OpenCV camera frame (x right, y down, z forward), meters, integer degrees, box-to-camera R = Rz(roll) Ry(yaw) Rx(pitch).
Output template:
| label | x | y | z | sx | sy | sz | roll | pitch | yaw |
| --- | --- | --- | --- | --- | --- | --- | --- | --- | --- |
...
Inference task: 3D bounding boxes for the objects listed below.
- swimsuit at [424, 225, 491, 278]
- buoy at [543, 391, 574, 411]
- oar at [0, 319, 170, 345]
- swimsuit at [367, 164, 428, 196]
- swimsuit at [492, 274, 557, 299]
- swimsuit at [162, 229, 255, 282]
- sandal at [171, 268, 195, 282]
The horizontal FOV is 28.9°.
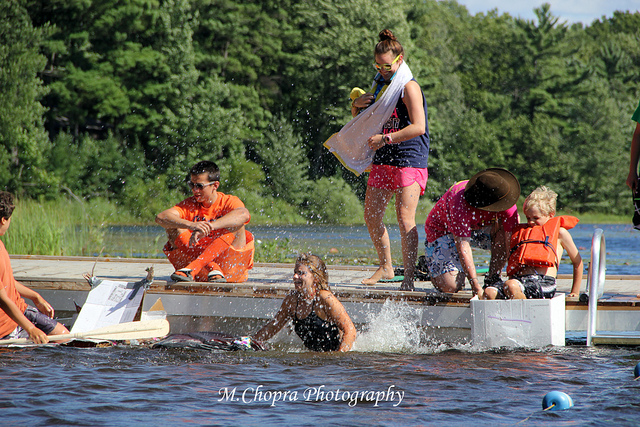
| label | x | y | z | sx | sy | sz | roll | pitch | yaw |
| --- | --- | --- | --- | --- | --- | --- | --- | --- | --- |
| swimsuit | 3.574 | 0.946 | 32.391 | 1.441 | 0.825 | 1.250 | -21 | 13 | 26 |
| buoy | 5.861 | 4.642 | 30.590 | 0.469 | 0.524 | 0.538 | 16 | 3 | 11 |
| oar | -6.078 | 3.067 | 31.938 | 3.288 | 0.420 | 0.146 | -7 | -18 | -6 |
| swimsuit | 2.137 | -0.952 | 32.764 | 1.321 | 1.055 | 0.769 | 7 | 3 | 28 |
| swimsuit | 5.579 | 1.913 | 32.457 | 0.993 | 0.608 | 1.438 | -4 | 10 | 2 |
| swimsuit | -2.697 | 1.265 | 33.113 | 1.597 | 0.857 | 1.519 | 2 | 0 | 11 |
| sandal | -3.572 | 1.621 | 32.659 | 0.553 | 0.275 | 0.287 | 6 | -6 | -10 |
